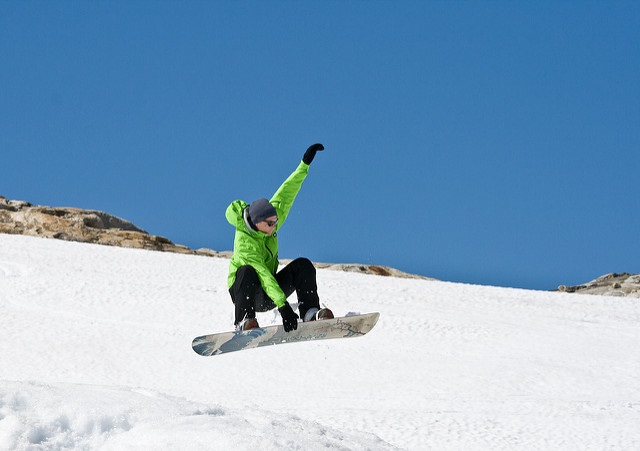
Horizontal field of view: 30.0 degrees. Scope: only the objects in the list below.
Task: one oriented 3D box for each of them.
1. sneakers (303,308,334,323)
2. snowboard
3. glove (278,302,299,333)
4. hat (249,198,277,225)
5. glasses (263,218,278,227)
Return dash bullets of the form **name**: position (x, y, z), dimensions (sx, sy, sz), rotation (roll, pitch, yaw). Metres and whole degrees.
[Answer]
- **sneakers**: position (-0.045, 1.320, 17.521), dimensions (0.533, 0.197, 0.169), rotation (1, -7, 4)
- **snowboard**: position (-0.460, 1.695, 18.221), dimensions (2.015, 0.149, 0.537), rotation (-11, -40, -9)
- **glove**: position (-0.449, 1.332, 17.223), dimensions (0.354, 0.378, 0.121), rotation (-5, -8, -36)
- **hat**: position (-0.863, -0.213, 17.531), dimensions (0.436, 0.386, 0.276), rotation (2, 14, -3)
- **glasses**: position (-0.728, -0.043, 17.543), dimensions (0.142, 0.130, 0.045), rotation (-1, 13, -27)
